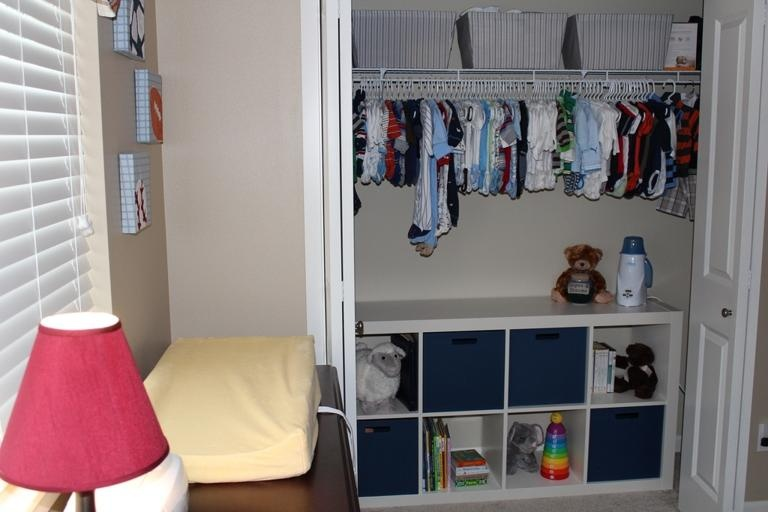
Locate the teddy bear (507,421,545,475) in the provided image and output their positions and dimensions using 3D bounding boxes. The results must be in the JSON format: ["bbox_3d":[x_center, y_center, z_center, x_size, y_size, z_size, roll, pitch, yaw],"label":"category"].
[{"bbox_3d":[0.887,1.207,3.742,0.264,0.135,0.214,-1,1,-14],"label":"teddy bear"}]

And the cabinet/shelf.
[{"bbox_3d":[0.804,-0.016,3.470,2.569,2.754,0.869,-1,15,-5],"label":"cabinet/shelf"}]

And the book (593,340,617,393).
[{"bbox_3d":[1.334,0.679,3.613,0.121,0.227,0.232,1,30,9],"label":"book"}]

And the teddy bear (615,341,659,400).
[{"bbox_3d":[1.544,0.689,3.646,0.247,0.269,0.228,6,13,22],"label":"teddy bear"}]

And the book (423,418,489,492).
[{"bbox_3d":[0.389,1.180,3.655,0.460,0.480,0.333,0,4,-12],"label":"book"}]

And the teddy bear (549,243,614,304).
[{"bbox_3d":[1.247,0.127,3.741,0.343,0.373,0.225,2,2,21],"label":"teddy bear"}]
